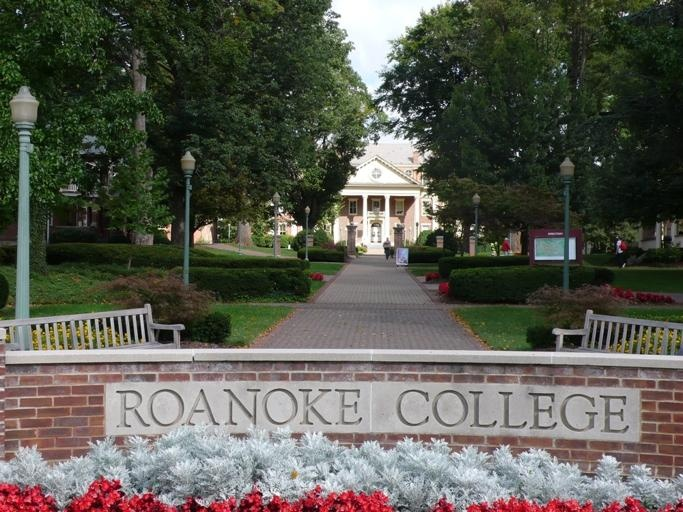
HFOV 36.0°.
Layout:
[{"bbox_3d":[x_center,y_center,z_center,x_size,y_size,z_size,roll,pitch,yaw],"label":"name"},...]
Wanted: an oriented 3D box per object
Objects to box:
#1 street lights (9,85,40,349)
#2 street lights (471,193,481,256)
[{"bbox_3d":[-7.421,-1.140,24.423,0.853,5.677,0.860,5,15,2],"label":"street lights"},{"bbox_3d":[6.344,-1.560,48.926,0.498,2.283,0.515,-2,4,-8],"label":"street lights"}]
